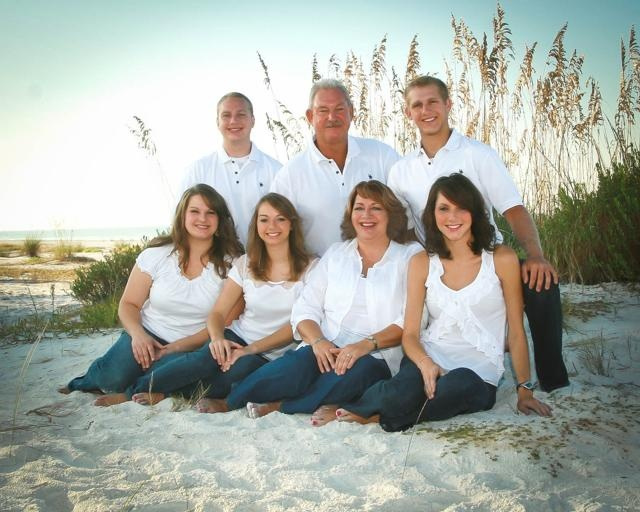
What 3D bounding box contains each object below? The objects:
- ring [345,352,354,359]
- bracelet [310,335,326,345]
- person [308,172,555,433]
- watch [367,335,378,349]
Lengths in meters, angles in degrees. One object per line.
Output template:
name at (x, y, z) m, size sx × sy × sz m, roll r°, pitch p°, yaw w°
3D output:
ring at (0.220, 0.717, 3.563) m, size 0.034 × 0.027 × 0.036 m, roll 11°, pitch 30°, yaw -6°
bracelet at (-0.026, 0.622, 3.700) m, size 0.066 × 0.019 × 0.068 m, roll -42°, pitch 10°, yaw -18°
person at (0.903, 0.281, 3.537) m, size 1.157 × 1.695 × 0.716 m, roll -2°, pitch 10°, yaw 2°
watch at (0.395, 0.636, 3.662) m, size 0.058 × 0.094 × 0.096 m, roll -13°, pitch -23°, yaw 1°
